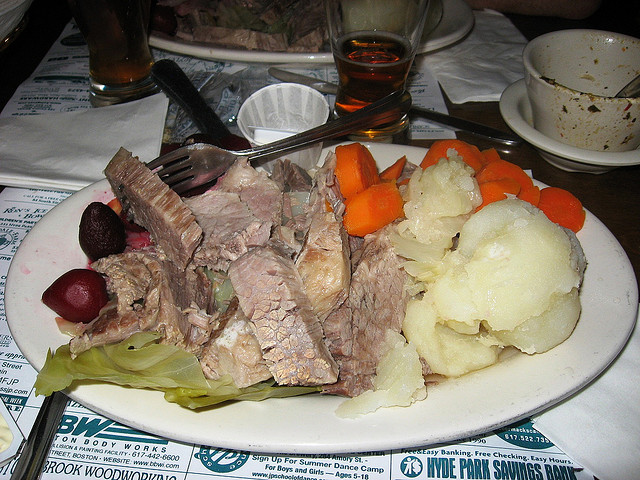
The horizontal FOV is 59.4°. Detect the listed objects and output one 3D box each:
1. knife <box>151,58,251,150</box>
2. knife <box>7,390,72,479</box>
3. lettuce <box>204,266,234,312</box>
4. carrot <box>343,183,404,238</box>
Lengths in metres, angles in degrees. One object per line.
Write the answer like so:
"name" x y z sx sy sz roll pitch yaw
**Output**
"knife" -0.567 -0.603 2.752 0.634 0.121 0.053 42 28 1
"knife" -0.964 0.673 1.930 0.109 0.027 0.291 6 59 6
"lettuce" -0.405 0.194 2.255 0.136 0.041 0.176 -19 94 -20
"carrot" 0.182 -0.140 2.247 0.266 0.176 0.155 -17 33 -31
